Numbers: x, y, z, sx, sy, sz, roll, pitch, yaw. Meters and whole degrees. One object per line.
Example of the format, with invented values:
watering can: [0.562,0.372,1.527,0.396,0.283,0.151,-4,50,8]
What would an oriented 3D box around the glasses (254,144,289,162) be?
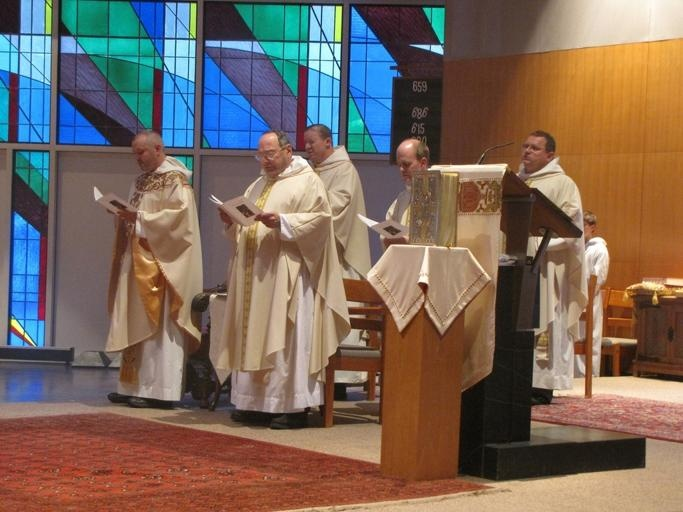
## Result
glasses: [-0.484,-0.744,6.452,0.133,0.043,0.139,-16,10,45]

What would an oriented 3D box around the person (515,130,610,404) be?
person: [1.678,0.080,7.175,0.516,2.147,0.682,-1,-7,14]

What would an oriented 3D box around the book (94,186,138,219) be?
book: [-1.625,-0.444,6.613,0.232,0.097,0.323,-4,-19,39]

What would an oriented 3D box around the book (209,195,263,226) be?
book: [-0.699,-0.288,5.932,0.328,0.268,0.121,-5,25,18]

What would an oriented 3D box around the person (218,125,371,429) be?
person: [-0.389,0.135,6.319,0.899,2.091,0.544,1,-7,-1]

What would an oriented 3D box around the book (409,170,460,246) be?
book: [0.506,-0.257,4.951,0.267,0.429,0.172,0,-7,3]

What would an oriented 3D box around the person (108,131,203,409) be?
person: [-1.440,0.084,6.991,0.721,2.134,0.524,2,-7,-8]

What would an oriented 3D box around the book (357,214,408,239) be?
book: [0.282,-0.204,5.780,0.275,0.183,0.671,0,-8,4]
